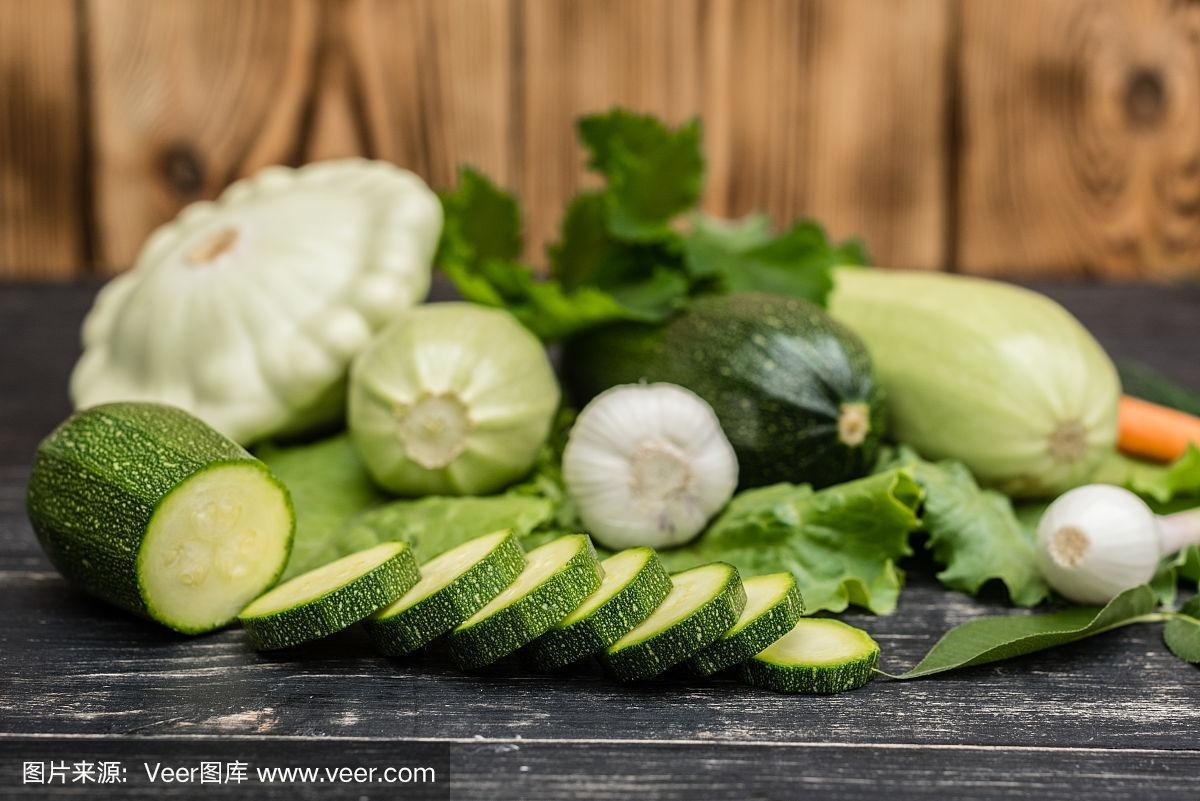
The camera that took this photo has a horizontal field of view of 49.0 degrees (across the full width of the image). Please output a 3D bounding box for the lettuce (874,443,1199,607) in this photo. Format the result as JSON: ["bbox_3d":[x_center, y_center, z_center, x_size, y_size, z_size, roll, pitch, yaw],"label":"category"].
[{"bbox_3d":[0.870,0.276,2.582,0.506,0.152,0.337,4,68,-7],"label":"lettuce"}]

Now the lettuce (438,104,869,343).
[{"bbox_3d":[0.087,-0.294,2.853,0.611,0.276,0.602,-33,29,-11],"label":"lettuce"}]
